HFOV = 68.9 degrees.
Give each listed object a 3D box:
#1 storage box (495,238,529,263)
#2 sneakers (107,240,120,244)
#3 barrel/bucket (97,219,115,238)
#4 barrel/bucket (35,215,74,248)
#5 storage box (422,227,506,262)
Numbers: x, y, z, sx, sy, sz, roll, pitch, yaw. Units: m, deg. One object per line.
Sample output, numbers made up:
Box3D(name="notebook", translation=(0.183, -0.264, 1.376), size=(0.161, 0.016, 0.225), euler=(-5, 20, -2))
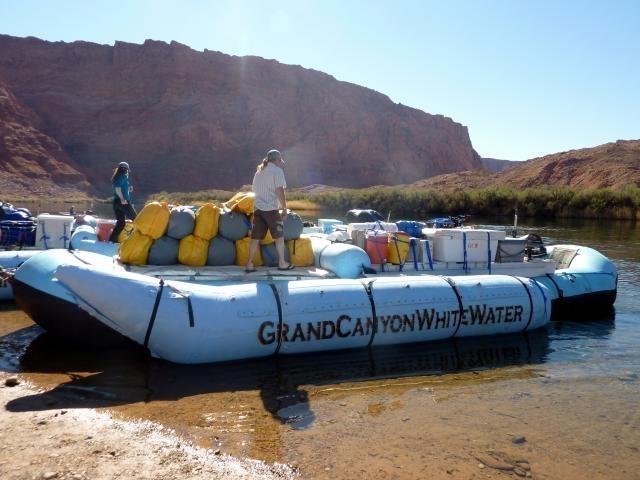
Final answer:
Box3D(name="storage box", translation=(3.895, 0.209, 9.568), size=(0.640, 0.383, 0.575), euler=(0, 1, 10))
Box3D(name="sneakers", translation=(-4.310, 0.038, 9.738), size=(0.143, 0.041, 0.138), euler=(-2, 7, -44))
Box3D(name="barrel/bucket", translation=(-4.753, -0.241, 10.368), size=(0.317, 0.480, 0.261), euler=(17, 32, -21))
Box3D(name="barrel/bucket", translation=(-6.522, -0.194, 11.757), size=(1.014, 0.818, 0.929), euler=(3, 3, 0))
Box3D(name="storage box", translation=(2.879, 0.101, 9.495), size=(1.490, 0.581, 0.991), euler=(2, 1, -13))
